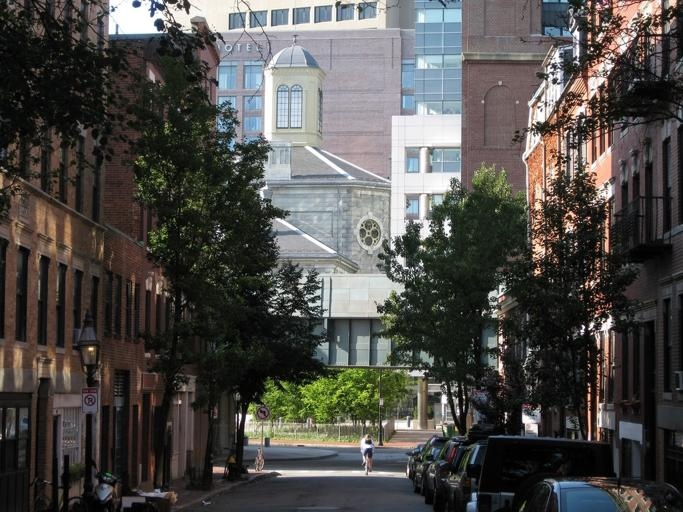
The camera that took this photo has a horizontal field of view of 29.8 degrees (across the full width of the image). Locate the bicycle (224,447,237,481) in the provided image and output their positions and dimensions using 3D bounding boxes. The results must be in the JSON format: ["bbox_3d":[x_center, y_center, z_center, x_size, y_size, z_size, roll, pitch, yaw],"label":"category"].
[{"bbox_3d":[-4.346,8.239,50.586,0.505,1.267,1.484,-1,-11,-5],"label":"bicycle"}]

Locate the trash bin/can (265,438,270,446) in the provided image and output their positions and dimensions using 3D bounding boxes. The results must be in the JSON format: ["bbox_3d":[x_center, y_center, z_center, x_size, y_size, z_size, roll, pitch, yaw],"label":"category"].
[{"bbox_3d":[-4.613,11.776,80.695,0.397,0.545,0.441,-2,-3,11],"label":"trash bin/can"}]

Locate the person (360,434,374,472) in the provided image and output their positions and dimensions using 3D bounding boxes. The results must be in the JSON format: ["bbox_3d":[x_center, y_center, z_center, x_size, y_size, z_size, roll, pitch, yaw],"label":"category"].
[{"bbox_3d":[1.151,8.711,55.768,0.922,1.412,2.107,-1,-11,-2],"label":"person"}]
